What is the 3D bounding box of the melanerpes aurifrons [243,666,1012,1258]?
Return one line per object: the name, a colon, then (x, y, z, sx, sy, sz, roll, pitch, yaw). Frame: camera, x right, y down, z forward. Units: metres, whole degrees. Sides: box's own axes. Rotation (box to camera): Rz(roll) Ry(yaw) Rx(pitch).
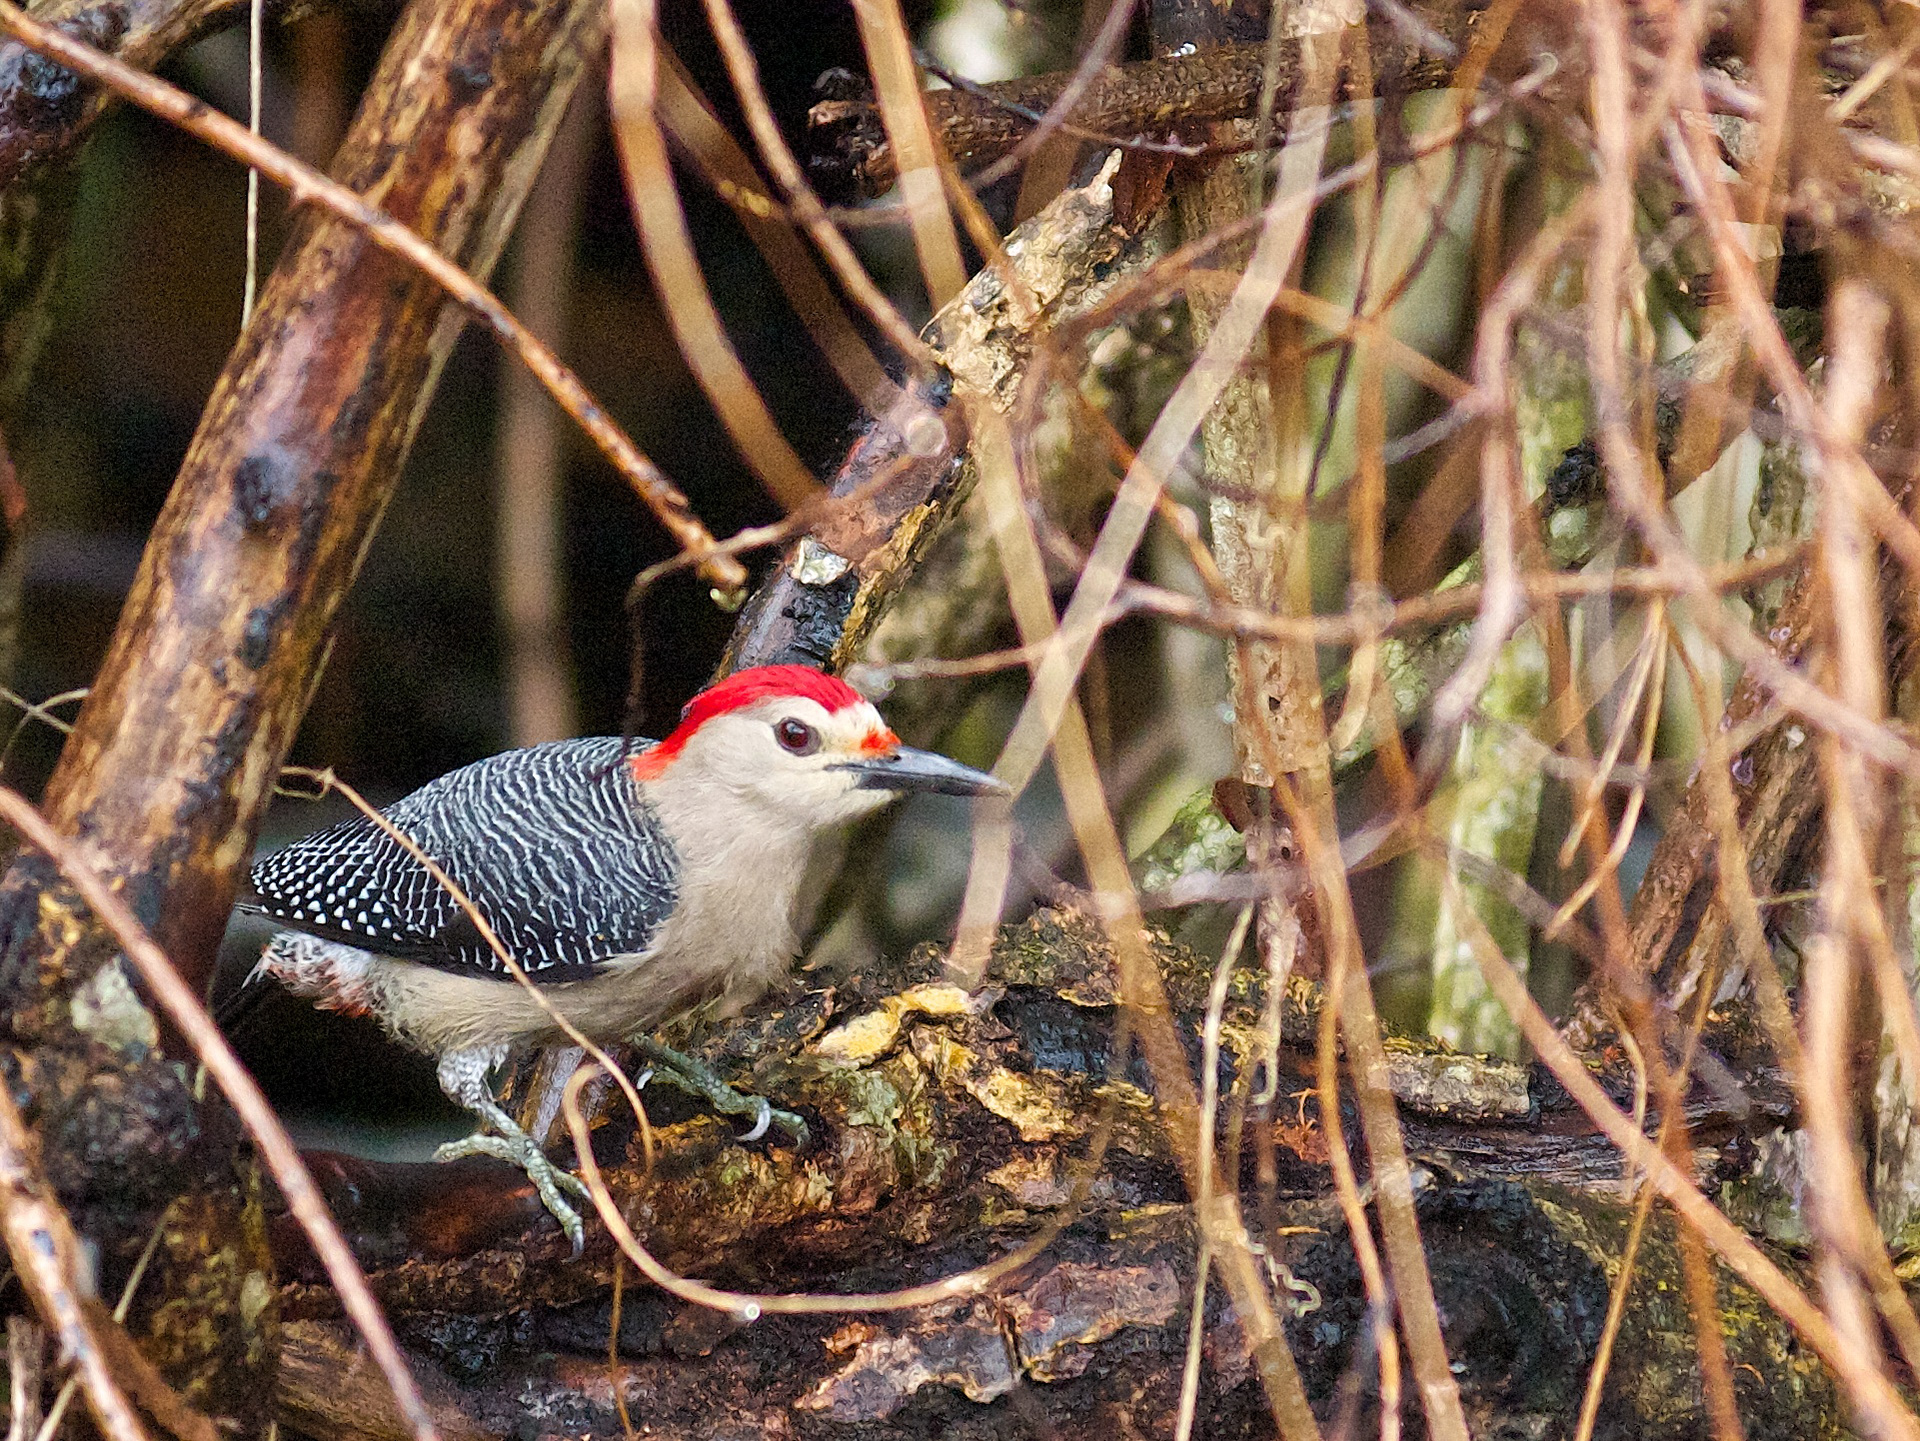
melanerpes aurifrons: (-0.633, 0.358, 4.333, 1.159, 1.073, 0.731, 26, 20, 31)
